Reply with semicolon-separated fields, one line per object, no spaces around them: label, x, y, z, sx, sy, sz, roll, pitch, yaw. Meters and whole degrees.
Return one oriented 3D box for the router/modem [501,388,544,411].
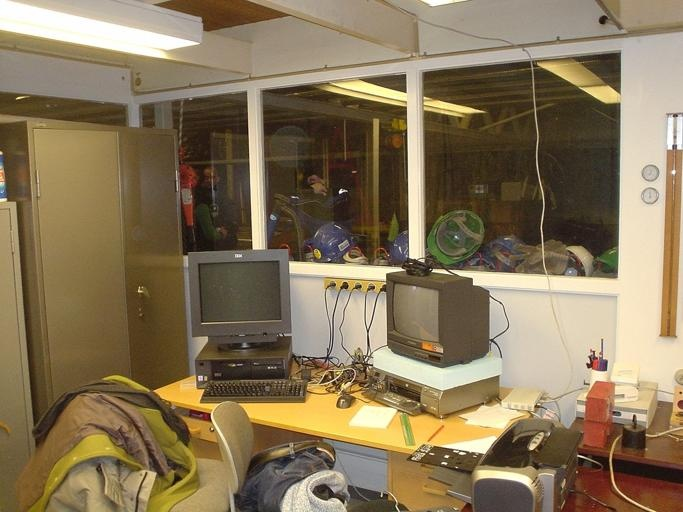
router/modem;1.004;0.792;3.212;0.104;0.030;0.151;4;11;31

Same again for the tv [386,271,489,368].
tv;0.497;0.301;3.428;0.499;0.562;0.558;-5;7;-37

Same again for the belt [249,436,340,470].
belt;-0.230;0.993;2.952;0.265;0.079;0.211;-2;0;-23

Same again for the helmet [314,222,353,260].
helmet;-0.040;-0.112;4.119;0.268;0.234;0.209;13;37;19

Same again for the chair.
chair;-0.538;1.002;2.878;0.173;0.557;0.359;-2;6;-6
